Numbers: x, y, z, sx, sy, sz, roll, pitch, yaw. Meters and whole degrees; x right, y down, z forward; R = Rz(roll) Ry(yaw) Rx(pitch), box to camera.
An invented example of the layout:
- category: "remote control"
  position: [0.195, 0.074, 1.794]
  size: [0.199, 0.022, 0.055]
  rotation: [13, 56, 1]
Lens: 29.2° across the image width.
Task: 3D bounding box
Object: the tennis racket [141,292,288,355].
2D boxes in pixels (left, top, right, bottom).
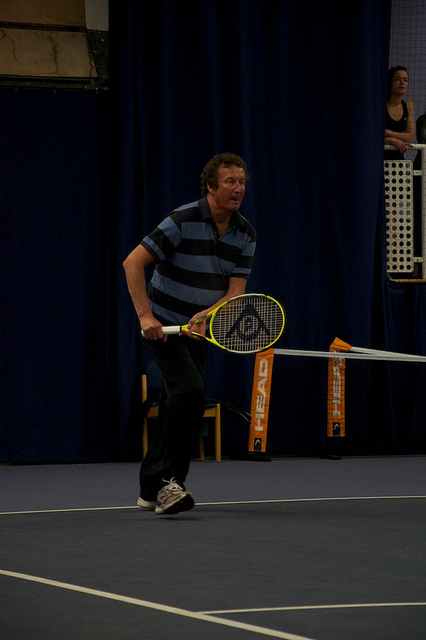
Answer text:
- category: "tennis racket"
  position: [-0.022, 0.023, 3.018]
  size: [0.579, 0.226, 0.035]
  rotation: [-5, -18, 16]

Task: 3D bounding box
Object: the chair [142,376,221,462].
- category: "chair"
  position: [-0.190, 0.557, 5.116]
  size: [0.486, 0.715, 0.436]
  rotation: [-3, -3, -13]

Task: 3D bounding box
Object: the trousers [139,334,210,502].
- category: "trousers"
  position: [-0.149, 0.373, 3.011]
  size: [0.241, 0.633, 0.305]
  rotation: [2, -3, -1]

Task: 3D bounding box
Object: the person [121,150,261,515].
- category: "person"
  position: [-0.085, 0.050, 2.973]
  size: [0.450, 1.338, 0.386]
  rotation: [2, -3, 3]

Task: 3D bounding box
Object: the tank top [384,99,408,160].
- category: "tank top"
  position: [1.297, -1.344, 5.799]
  size: [0.226, 0.387, 0.096]
  rotation: [1, -2, -28]
